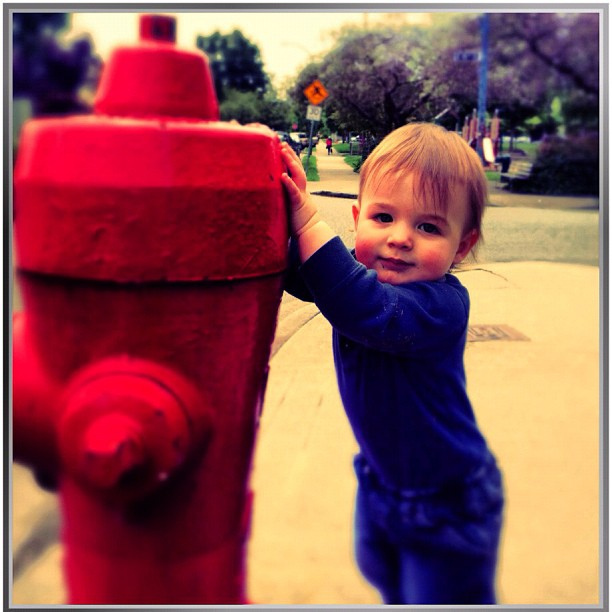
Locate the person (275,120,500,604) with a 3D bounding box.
[{"bbox_3d":[0.183,0.162,1.242,0.520,1.052,0.286,1,12,-7],"label":"person"}]

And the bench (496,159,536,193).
[{"bbox_3d":[1.966,-1.221,5.729,0.321,0.309,0.593,7,13,16],"label":"bench"}]
